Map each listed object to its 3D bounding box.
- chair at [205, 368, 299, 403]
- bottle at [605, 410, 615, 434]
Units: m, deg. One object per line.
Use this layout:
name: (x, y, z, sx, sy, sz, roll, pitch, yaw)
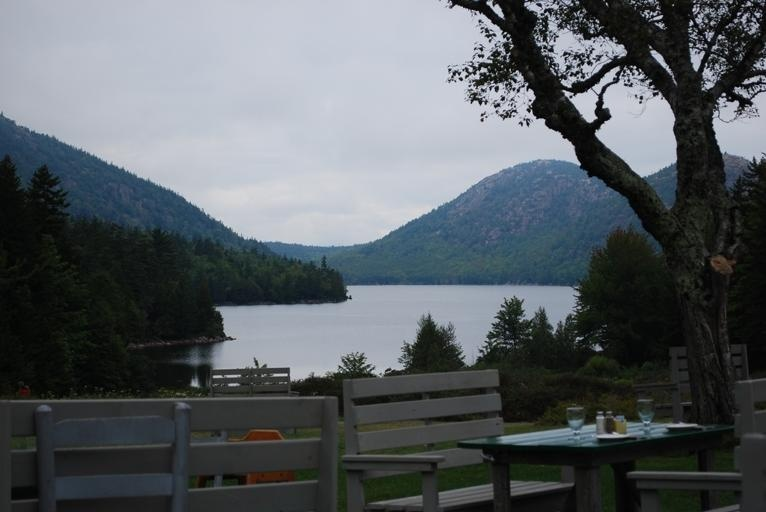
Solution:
chair: (-4.296, 4.019, 29.959, 2.769, 0.939, 1.532, -8, -11, 28)
bottle: (4.334, 3.142, 17.688, 0.178, 0.391, 0.196, -1, -10, -11)
